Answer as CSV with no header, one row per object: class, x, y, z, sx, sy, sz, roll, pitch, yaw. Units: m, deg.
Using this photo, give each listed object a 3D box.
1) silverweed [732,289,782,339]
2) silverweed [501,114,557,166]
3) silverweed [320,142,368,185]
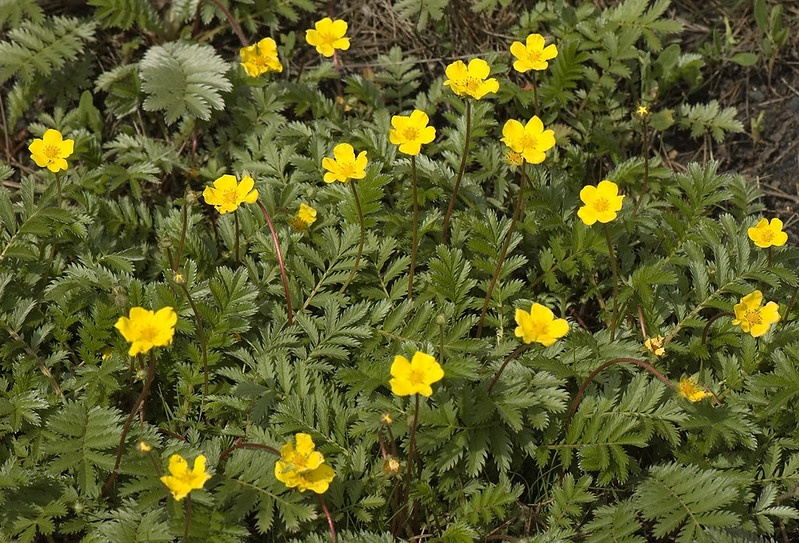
silverweed,2.249,0.277,4.791,0.327,0.145,0.300,-6,76,-17
silverweed,0.823,-0.826,4.901,0.309,0.142,0.374,-30,70,-11
silverweed,-0.368,-0.709,5.042,0.295,0.330,0.118,-8,70,-15
